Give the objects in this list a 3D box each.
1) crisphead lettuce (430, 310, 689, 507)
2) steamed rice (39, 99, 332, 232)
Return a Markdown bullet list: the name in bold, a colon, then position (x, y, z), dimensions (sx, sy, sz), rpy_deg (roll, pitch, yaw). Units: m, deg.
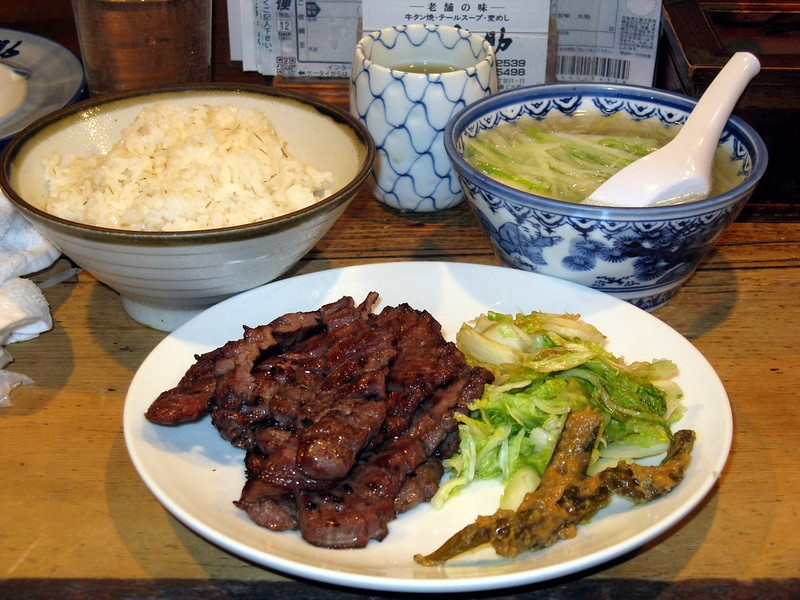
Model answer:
- **crisphead lettuce**: position (0.439, 0.284, 1.946), dimensions (0.709, 0.163, 0.512), rpy_deg (9, 51, 3)
- **steamed rice**: position (-0.751, -0.426, 2.323), dimensions (0.790, 0.201, 0.648), rpy_deg (10, 24, 13)
